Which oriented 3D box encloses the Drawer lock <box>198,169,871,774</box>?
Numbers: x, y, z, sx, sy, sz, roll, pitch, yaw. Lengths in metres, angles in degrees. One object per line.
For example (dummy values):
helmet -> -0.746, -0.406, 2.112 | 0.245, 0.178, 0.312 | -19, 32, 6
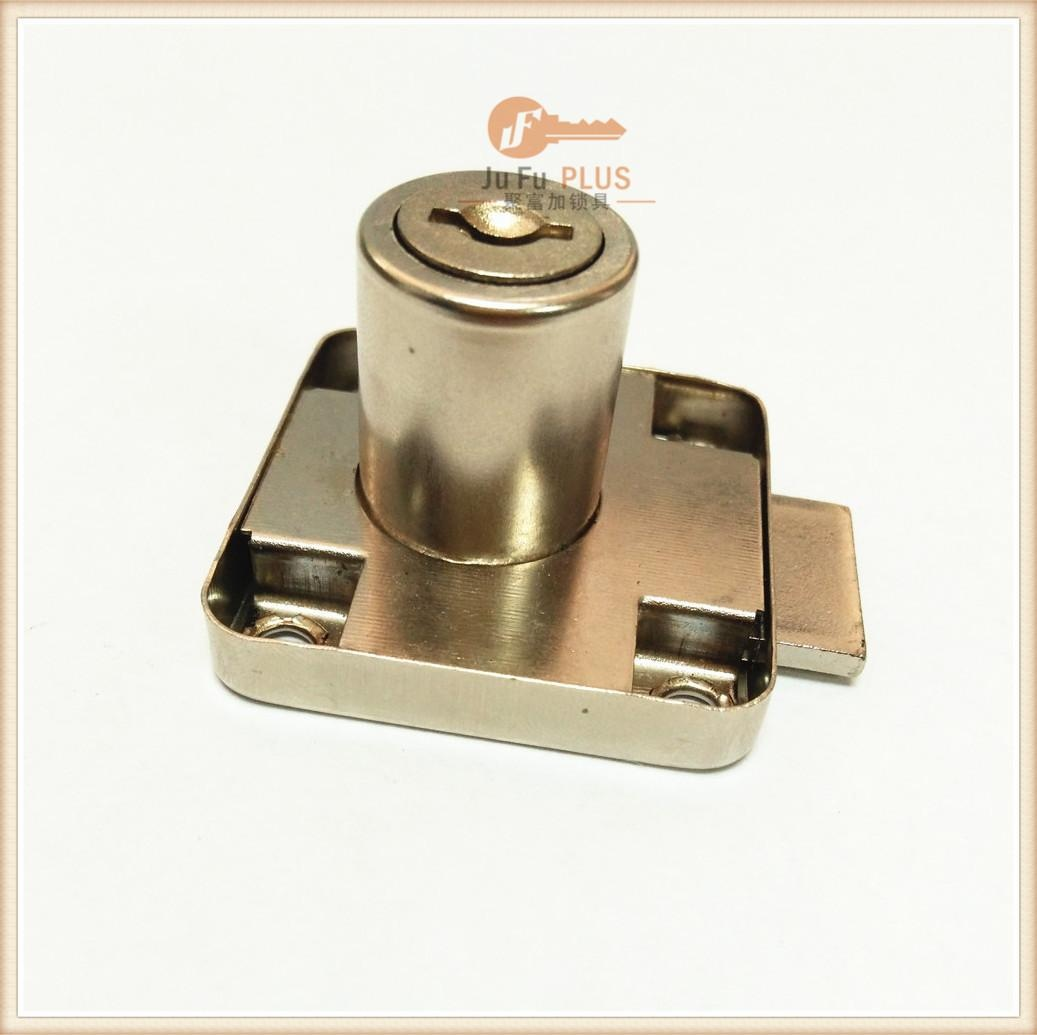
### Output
Drawer lock -> 0.052, -0.081, 1.220 | 0.622, 0.439, 0.457 | 11, 46, 3
